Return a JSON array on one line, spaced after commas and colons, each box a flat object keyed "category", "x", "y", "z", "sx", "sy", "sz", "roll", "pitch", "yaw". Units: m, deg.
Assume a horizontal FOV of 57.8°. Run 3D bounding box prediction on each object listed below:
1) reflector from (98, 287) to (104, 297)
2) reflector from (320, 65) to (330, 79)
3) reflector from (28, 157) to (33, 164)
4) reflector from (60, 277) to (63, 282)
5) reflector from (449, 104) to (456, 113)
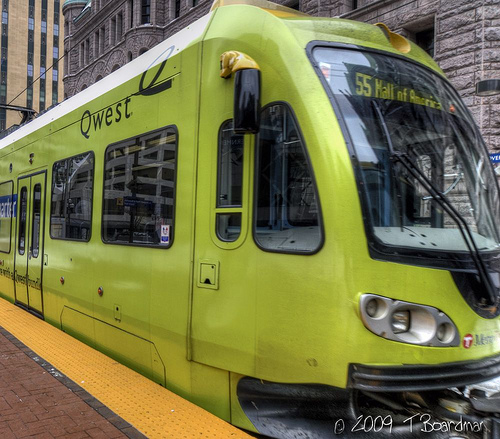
[{"category": "reflector", "x": -1.713, "y": 0.834, "z": 5.179, "sx": 0.048, "sy": 0.083, "sz": 0.088, "roll": 3, "pitch": -24, "yaw": -43}, {"category": "reflector", "x": 0.542, "y": -1.047, "z": 3.237, "sx": 0.067, "sy": 0.105, "sz": 0.050, "roll": -4, "pitch": 3, "yaw": 5}, {"category": "reflector", "x": -3.809, "y": -0.998, "z": 7.861, "sx": 0.060, "sy": 0.069, "sz": 0.183, "roll": -1, "pitch": -6, "yaw": -27}, {"category": "reflector", "x": -2.593, "y": 0.828, "z": 6.224, "sx": 0.046, "sy": 0.041, "sz": 0.043, "roll": -1, "pitch": 3, "yaw": 1}, {"category": "reflector", "x": 1.662, "y": -0.904, "z": 3.714, "sx": 0.047, "sy": 0.042, "sz": 0.079, "roll": -5, "pitch": -13, "yaw": -11}]
